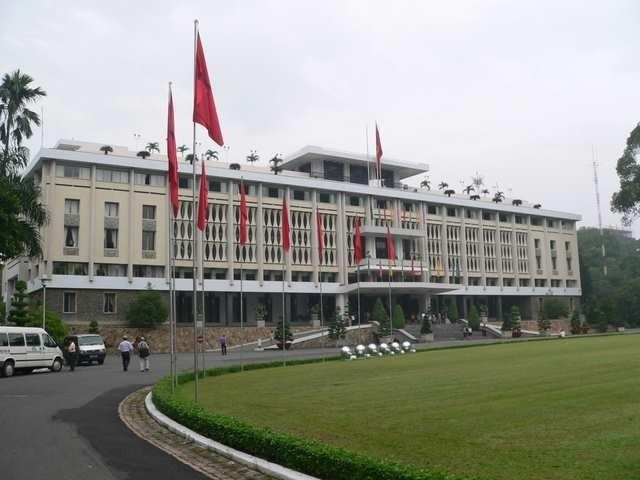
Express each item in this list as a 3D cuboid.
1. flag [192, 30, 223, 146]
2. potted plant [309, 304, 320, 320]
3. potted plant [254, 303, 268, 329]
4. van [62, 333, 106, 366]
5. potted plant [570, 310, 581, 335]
[{"bbox_3d":[-4.167,-5.511,23.024,1.205,0.321,5.268,10,-33,-4],"label":"flag"},{"bbox_3d":[-0.866,7.834,68.087,1.386,2.004,1.474,0,-9,13],"label":"potted plant"},{"bbox_3d":[-6.084,7.616,64.168,1.776,3.566,2.284,1,-8,-6],"label":"potted plant"},{"bbox_3d":[-15.276,7.162,40.926,1.763,1.663,2.908,5,-16,-32],"label":"van"},{"bbox_3d":[28.780,9.486,70.959,1.117,1.619,2.942,-4,-4,26],"label":"potted plant"}]
